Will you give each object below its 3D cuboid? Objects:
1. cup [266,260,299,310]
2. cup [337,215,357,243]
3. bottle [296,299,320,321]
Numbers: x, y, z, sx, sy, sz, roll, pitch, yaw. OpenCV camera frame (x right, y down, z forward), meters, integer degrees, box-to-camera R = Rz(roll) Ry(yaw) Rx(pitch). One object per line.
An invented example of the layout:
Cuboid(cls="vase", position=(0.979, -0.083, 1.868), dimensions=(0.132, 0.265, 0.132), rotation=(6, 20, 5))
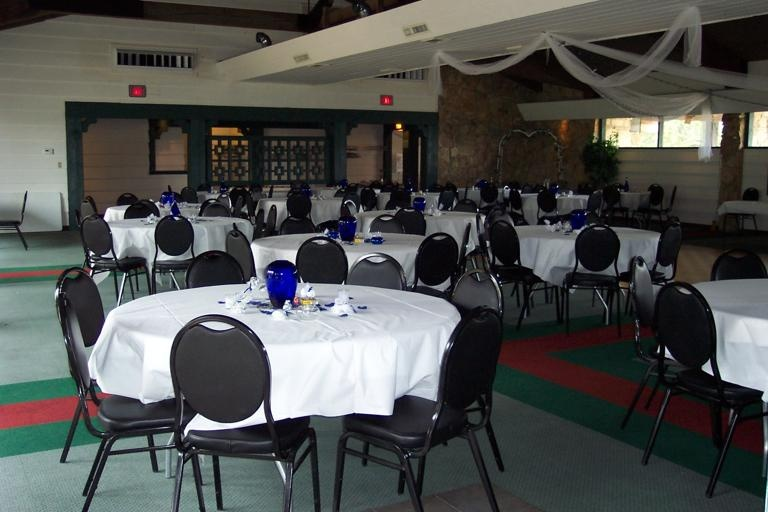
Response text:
Cuboid(cls="cup", position=(-0.580, 0.160, 3.089), dimensions=(0.223, 0.354, 0.231), rotation=(0, 7, 0))
Cuboid(cls="cup", position=(-0.300, -0.262, 5.246), dimensions=(0.219, 0.268, 0.209), rotation=(0, 8, 0))
Cuboid(cls="bottle", position=(-0.421, 0.304, 2.928), dimensions=(0.100, 0.105, 0.106), rotation=(0, -2, -1))
